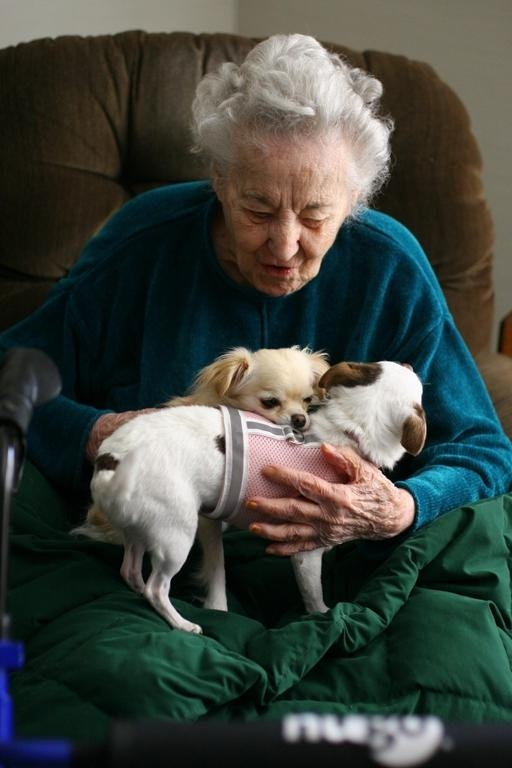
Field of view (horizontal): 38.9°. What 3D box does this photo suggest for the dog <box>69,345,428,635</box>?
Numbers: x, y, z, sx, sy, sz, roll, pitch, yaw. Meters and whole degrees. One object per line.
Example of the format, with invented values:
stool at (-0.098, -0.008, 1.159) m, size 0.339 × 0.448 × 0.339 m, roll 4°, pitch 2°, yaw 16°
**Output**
dog at (-0.020, 0.198, 1.819) m, size 0.874 × 0.554 × 0.481 m, roll -4°, pitch 14°, yaw -15°
